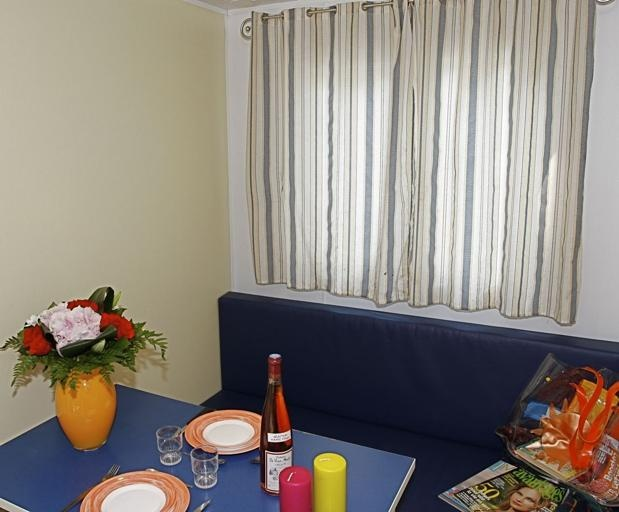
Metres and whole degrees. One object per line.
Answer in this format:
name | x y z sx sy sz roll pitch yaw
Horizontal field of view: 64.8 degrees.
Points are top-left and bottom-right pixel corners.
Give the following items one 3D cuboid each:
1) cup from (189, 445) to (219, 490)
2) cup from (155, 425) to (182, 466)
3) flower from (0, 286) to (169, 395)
cup | -0.273 0.563 1.313 0.080 0.108 0.089 -1 -1 -1
cup | -0.392 0.556 1.415 0.077 0.104 0.086 -4 -20 19
flower | -0.639 0.238 1.478 0.373 0.203 0.408 2 5 12
